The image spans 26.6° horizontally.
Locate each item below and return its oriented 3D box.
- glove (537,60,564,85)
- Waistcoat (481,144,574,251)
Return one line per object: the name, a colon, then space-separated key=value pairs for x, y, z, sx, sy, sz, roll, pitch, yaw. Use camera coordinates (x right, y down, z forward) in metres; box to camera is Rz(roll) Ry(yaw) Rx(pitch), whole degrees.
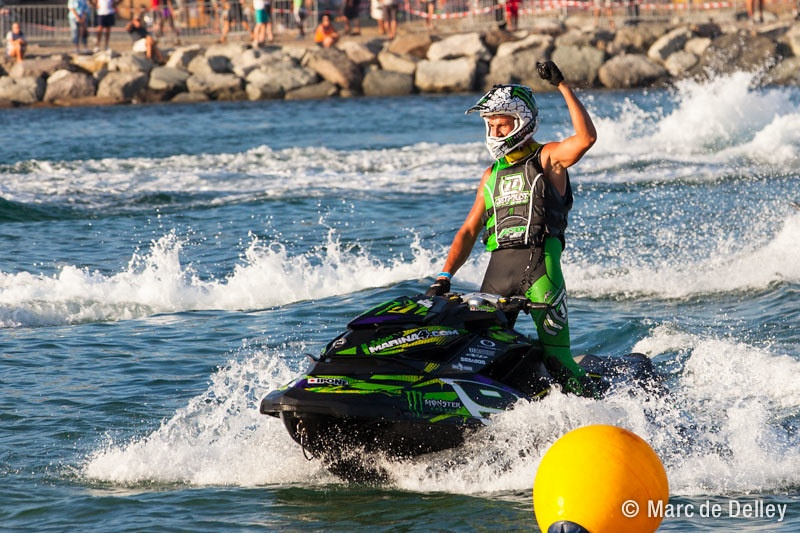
glove: x=2.611 y=-3.420 z=29.806 sx=0.357 sy=0.461 sz=0.227 roll=-59 pitch=9 yaw=-29
Waistcoat: x=2.239 y=-1.233 z=30.271 sx=1.674 sy=2.065 sz=1.206 roll=-6 pitch=-10 yaw=40
